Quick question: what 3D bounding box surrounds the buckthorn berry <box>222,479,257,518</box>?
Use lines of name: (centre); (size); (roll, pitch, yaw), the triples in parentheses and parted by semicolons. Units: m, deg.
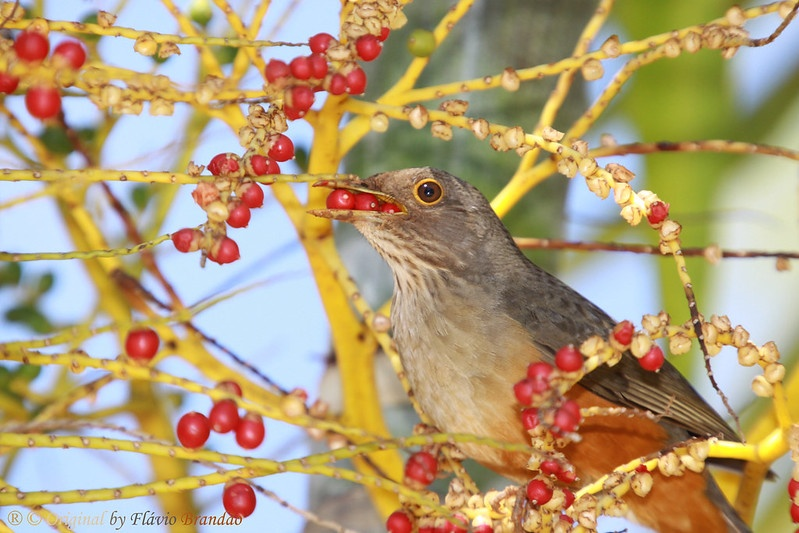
buckthorn berry: (-0.455, 0.661, 2.899); (0.090, 0.111, 0.118); (9, -63, -11)

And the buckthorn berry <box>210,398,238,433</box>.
buckthorn berry: (-0.487, 0.414, 2.843); (0.083, 0.059, 0.081); (-3, -62, -6)

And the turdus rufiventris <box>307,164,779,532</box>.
turdus rufiventris: (0.575, 0.476, 4.156); (2.194, 0.754, 1.526); (13, -104, -2)

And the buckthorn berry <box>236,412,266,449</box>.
buckthorn berry: (-0.416, 0.462, 2.851); (0.078, 0.097, 0.085); (0, -61, -7)

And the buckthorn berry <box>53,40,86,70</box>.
buckthorn berry: (-0.921, -0.619, 2.881); (0.085, 0.071, 0.056); (27, -67, -20)
